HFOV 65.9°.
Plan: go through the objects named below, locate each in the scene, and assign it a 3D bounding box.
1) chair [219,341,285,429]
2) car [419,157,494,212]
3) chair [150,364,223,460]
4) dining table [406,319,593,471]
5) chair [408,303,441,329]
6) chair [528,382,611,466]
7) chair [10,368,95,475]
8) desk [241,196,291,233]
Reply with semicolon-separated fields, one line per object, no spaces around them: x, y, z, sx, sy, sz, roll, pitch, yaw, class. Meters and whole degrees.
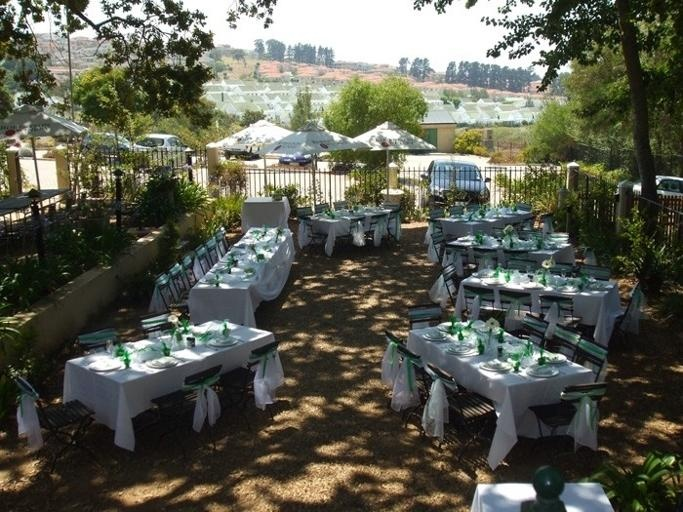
-1.372;1.808;7.903;0.737;1.245;0.731;9;11;23;chair
4.680;-2.881;21.627;1.735;1.571;3.305;0;6;-2;car
-2.136;2.180;7.474;0.918;1.267;1.025;-6;0;16;chair
2.191;1.671;7.262;1.217;0.965;2.216;-12;21;-24;dining table
1.371;0.992;8.958;0.486;0.535;0.417;-2;2;-6;chair
2.899;2.015;6.703;0.886;1.004;0.508;-3;12;-16;chair
-3.761;2.148;6.982;0.877;1.137;0.747;-8;12;-41;chair
-2.578;-1.392;18.145;1.443;1.130;1.214;1;6;3;desk
